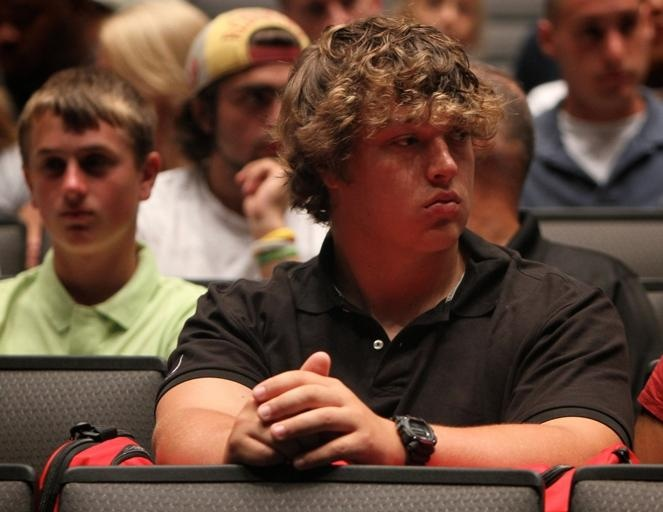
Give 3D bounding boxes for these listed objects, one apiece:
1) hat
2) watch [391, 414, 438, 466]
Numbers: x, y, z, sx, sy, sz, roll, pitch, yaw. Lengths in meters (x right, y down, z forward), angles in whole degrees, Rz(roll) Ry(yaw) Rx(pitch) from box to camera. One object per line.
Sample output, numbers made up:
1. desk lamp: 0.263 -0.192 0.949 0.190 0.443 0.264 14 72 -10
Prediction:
1. hat: -0.285 -0.590 2.590 0.540 0.257 0.354 9 13 38
2. watch: 0.160 0.358 1.683 0.065 0.104 0.092 1 22 -11
